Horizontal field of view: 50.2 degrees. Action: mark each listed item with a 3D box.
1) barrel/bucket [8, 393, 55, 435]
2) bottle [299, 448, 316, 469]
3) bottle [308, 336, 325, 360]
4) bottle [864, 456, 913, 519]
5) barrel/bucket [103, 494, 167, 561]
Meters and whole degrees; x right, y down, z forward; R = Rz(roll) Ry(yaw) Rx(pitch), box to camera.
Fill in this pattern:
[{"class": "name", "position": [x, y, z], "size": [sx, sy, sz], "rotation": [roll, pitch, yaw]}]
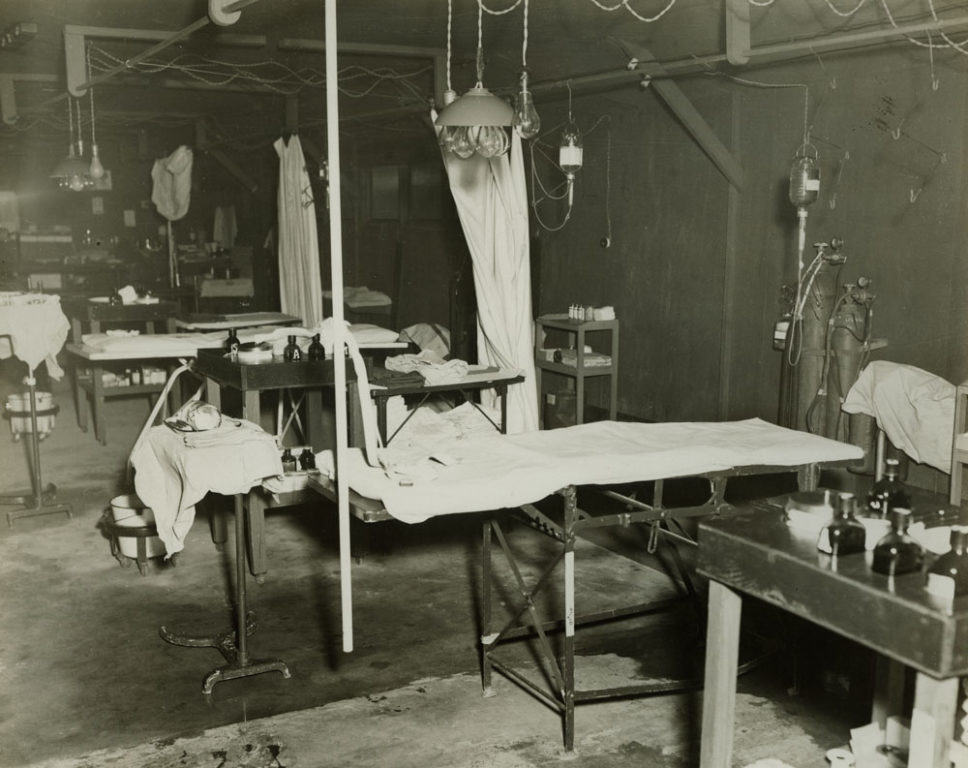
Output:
[{"class": "barrel/bucket", "position": [-3.670, 0.269, 8.473], "size": [0.396, 0.309, 0.393], "rotation": [1, 7, 0]}, {"class": "bottle", "position": [-1.183, 0.505, 6.865], "size": [0.106, 0.156, 0.056], "rotation": [0, -26, -18]}, {"class": "bottle", "position": [-1.169, -0.239, 7.159], "size": [0.138, 0.198, 0.134], "rotation": [0, 6, 0]}, {"class": "bottle", "position": [1.996, 0.504, 5.103], "size": [0.203, 0.354, 0.222], "rotation": [-1, 10, 0]}, {"class": "barrel/bucket", "position": [-2.364, 1.011, 7.063], "size": [0.366, 0.334, 0.408], "rotation": [3, 12, 2]}]
